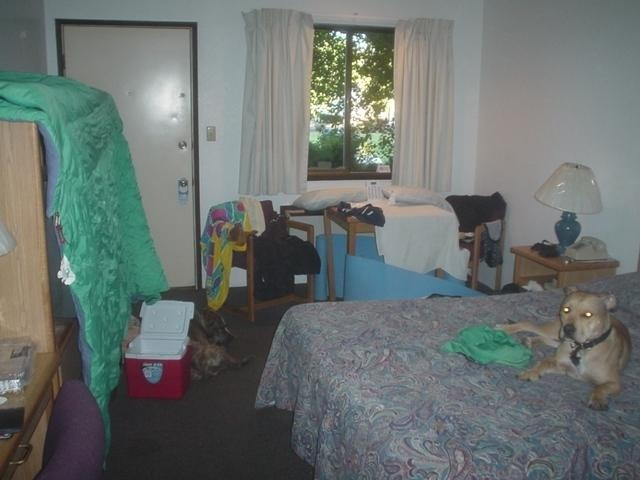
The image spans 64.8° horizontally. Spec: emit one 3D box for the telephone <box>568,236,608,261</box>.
[{"bbox_3d":[1.804,0.062,3.436,0.171,0.120,0.183,-4,10,-3],"label":"telephone"}]

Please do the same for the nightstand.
[{"bbox_3d":[1.676,0.196,3.531,0.292,0.390,0.562,-5,18,-13],"label":"nightstand"}]

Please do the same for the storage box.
[{"bbox_3d":[-0.926,0.652,2.986,0.351,0.540,0.216,0,11,2],"label":"storage box"}]

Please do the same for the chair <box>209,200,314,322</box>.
[{"bbox_3d":[-0.463,0.124,4.138,0.904,0.860,0.886,-4,12,-20],"label":"chair"}]

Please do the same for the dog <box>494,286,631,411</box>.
[{"bbox_3d":[1.092,0.441,2.120,0.429,0.288,0.490,-13,12,-37],"label":"dog"}]

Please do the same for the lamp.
[{"bbox_3d":[1.636,-0.206,3.411,0.374,0.614,0.291,-1,11,-3],"label":"lamp"}]
